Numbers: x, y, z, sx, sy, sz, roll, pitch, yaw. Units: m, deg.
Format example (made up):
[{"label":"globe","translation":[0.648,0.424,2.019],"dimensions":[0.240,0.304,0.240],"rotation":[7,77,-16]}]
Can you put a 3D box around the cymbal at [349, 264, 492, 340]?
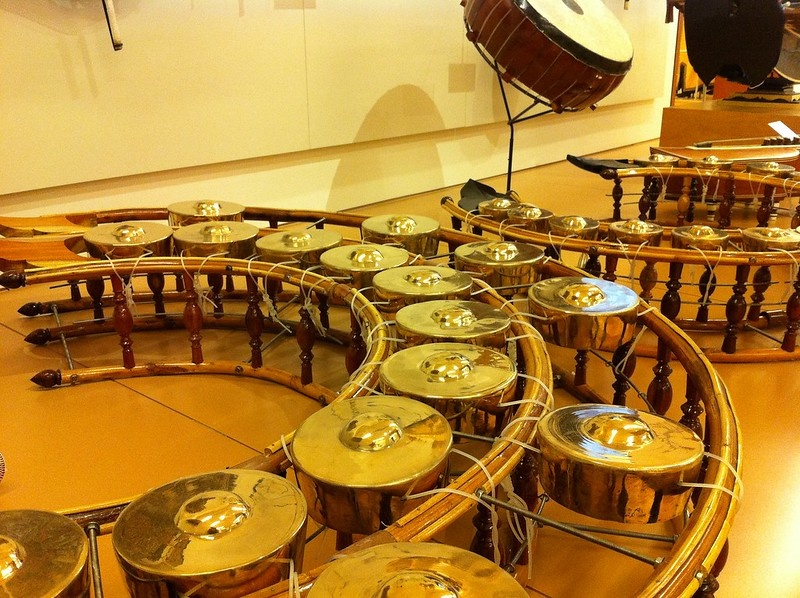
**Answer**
[{"label":"cymbal","translation":[0.058,-0.016,1.735],"dimensions":[0.195,0.118,0.195],"rotation":[24,34,33]}]

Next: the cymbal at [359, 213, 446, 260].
[{"label":"cymbal","translation":[-0.006,-0.274,2.371],"dimensions":[0.225,0.137,0.225],"rotation":[20,31,25]}]

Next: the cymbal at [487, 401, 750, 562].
[{"label":"cymbal","translation":[0.386,0.297,1.102],"dimensions":[0.408,0.124,0.284],"rotation":[10,28,32]}]

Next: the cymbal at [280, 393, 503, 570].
[{"label":"cymbal","translation":[-0.051,0.337,1.149],"dimensions":[0.286,0.241,0.285],"rotation":[10,26,25]}]

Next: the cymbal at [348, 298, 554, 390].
[{"label":"cymbal","translation":[0.145,0.088,1.526],"dimensions":[0.269,0.106,0.270],"rotation":[2,24,30]}]

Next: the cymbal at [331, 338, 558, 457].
[{"label":"cymbal","translation":[0.145,0.191,1.353],"dimensions":[0.397,0.130,0.310],"rotation":[-5,17,-8]}]

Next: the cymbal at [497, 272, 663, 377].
[{"label":"cymbal","translation":[0.502,0.016,1.642],"dimensions":[0.296,0.110,0.289],"rotation":[10,29,24]}]

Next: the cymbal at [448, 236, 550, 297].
[{"label":"cymbal","translation":[0.334,-0.119,1.969],"dimensions":[0.251,0.091,0.194],"rotation":[15,23,43]}]

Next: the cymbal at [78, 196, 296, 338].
[{"label":"cymbal","translation":[-1.159,-0.179,2.881],"dimensions":[1.073,0.565,0.898],"rotation":[3,19,12]}]

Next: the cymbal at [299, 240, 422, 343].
[{"label":"cymbal","translation":[-0.131,-0.037,1.937],"dimensions":[0.358,0.133,0.395],"rotation":[16,19,8]}]
